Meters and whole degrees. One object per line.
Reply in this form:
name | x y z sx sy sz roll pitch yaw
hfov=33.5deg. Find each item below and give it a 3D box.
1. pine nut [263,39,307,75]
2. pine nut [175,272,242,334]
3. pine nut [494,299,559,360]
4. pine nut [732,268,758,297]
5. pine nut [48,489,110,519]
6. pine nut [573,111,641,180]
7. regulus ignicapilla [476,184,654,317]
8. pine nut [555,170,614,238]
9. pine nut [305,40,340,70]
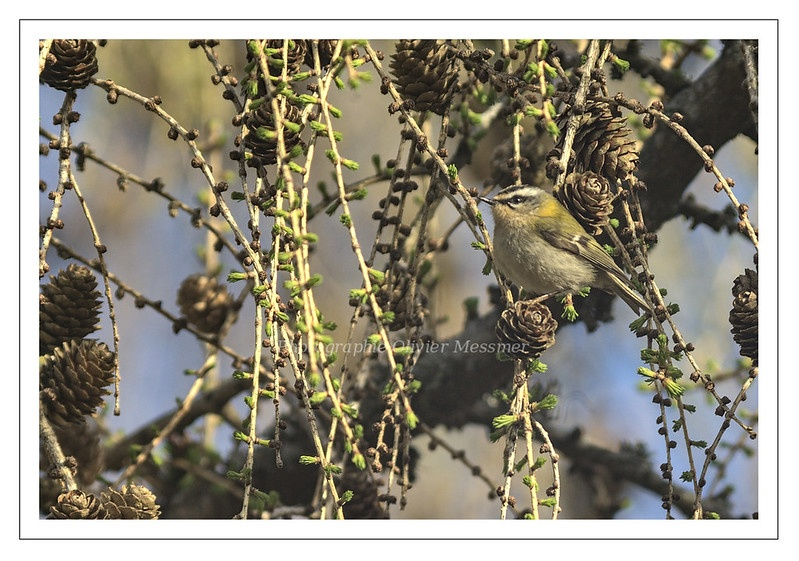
pine nut | -0.614 -1.150 6.874 0.202 0.183 0.402 2 10 4
pine nut | -1.170 0.173 8.169 0.385 0.419 0.330 -2 11 -12
pine nut | 0.664 0.261 6.965 0.312 0.287 0.203 2 11 6
pine nut | 1.760 0.022 6.730 0.119 0.144 0.078 3 -7 40
pine nut | -1.708 1.200 7.011 0.203 0.107 0.195 4 -5 -24
pine nut | 1.106 -0.726 7.118 0.322 0.383 0.192 6 12 23
regulus ignicapilla | 0.854 -0.183 7.630 0.900 0.878 0.910 5 -11 -30
pine nut | 0.990 -0.413 7.105 0.316 0.337 0.139 2 11 7
pine nut | -0.416 -1.215 7.098 0.146 0.161 0.063 44 0 8
